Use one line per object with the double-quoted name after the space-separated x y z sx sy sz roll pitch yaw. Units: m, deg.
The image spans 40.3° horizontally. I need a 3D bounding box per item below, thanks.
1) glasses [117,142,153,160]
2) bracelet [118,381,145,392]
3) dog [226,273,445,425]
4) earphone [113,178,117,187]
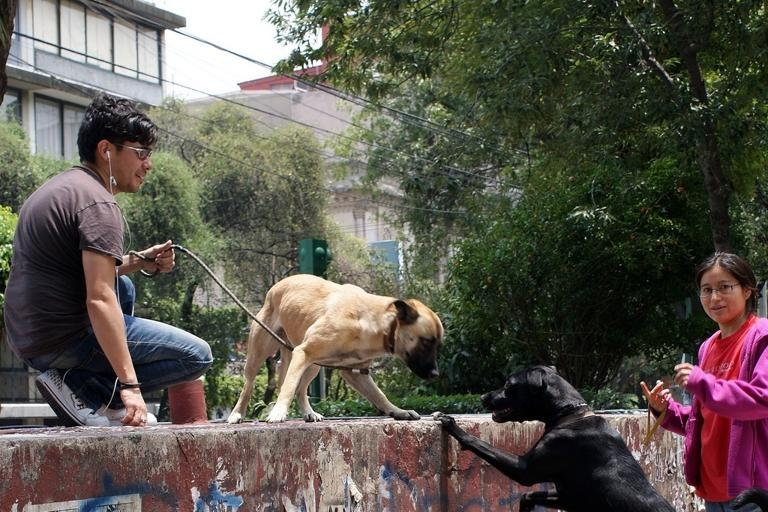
-2.446 -1.065 10.473 0.176 0.064 0.180 19 5 26 "glasses"
-2.424 1.236 10.029 0.187 0.075 0.202 4 -3 -19 "bracelet"
-0.604 1.012 11.079 2.534 1.714 0.894 -2 -8 32 "dog"
-2.667 -0.754 10.431 0.034 0.064 0.022 -17 -3 14 "earphone"
